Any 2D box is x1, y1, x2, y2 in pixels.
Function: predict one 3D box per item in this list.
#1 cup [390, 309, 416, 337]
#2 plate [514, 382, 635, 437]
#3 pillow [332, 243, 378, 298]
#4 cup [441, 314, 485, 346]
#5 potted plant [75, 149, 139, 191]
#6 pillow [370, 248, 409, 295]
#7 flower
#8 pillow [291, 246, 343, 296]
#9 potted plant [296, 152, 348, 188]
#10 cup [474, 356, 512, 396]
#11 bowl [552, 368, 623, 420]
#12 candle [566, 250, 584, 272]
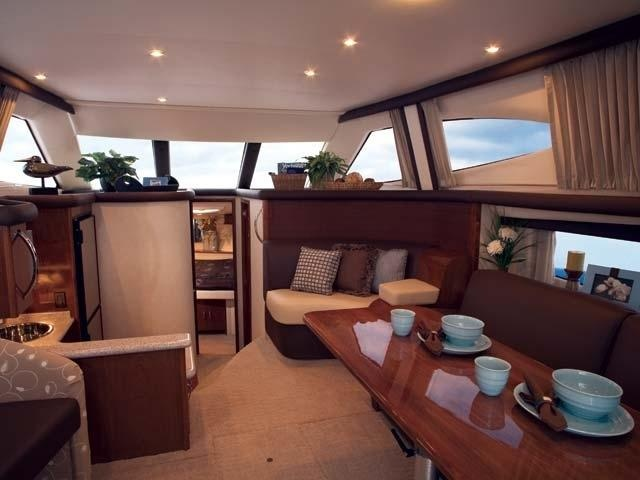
[{"bbox_3d":[0.453,0.448,2.329,0.131,0.107,0.128,-1,6,0],"label":"cup"},{"bbox_3d":[0.988,0.671,1.658,0.419,0.070,0.218,5,14,18],"label":"plate"},{"bbox_3d":[0.308,0.264,3.852,0.426,0.421,0.125,3,-6,16],"label":"pillow"},{"bbox_3d":[0.723,0.440,2.148,0.161,0.091,0.160,0,10,0],"label":"cup"},{"bbox_3d":[-2.184,-0.737,4.362,0.473,0.322,0.475,-2,9,-25],"label":"potted plant"},{"bbox_3d":[0.625,0.293,3.828,0.344,0.376,0.130,-10,-31,35],"label":"pillow"},{"bbox_3d":[1.554,-0.025,3.699,0.552,0.571,0.489,4,7,16],"label":"flower"},{"bbox_3d":[-0.032,0.275,3.960,0.427,0.414,0.131,6,-14,36],"label":"pillow"},{"bbox_3d":[0.074,-0.784,4.550,0.386,0.283,0.392,-3,17,-10],"label":"potted plant"},{"bbox_3d":[0.725,0.555,1.813,0.151,0.127,0.143,0,1,0],"label":"cup"},{"bbox_3d":[1.056,0.623,1.694,0.224,0.137,0.239,5,-8,1],"label":"bowl"},{"bbox_3d":[1.877,0.154,3.123,0.135,0.154,0.136,-1,4,5],"label":"candle"}]
